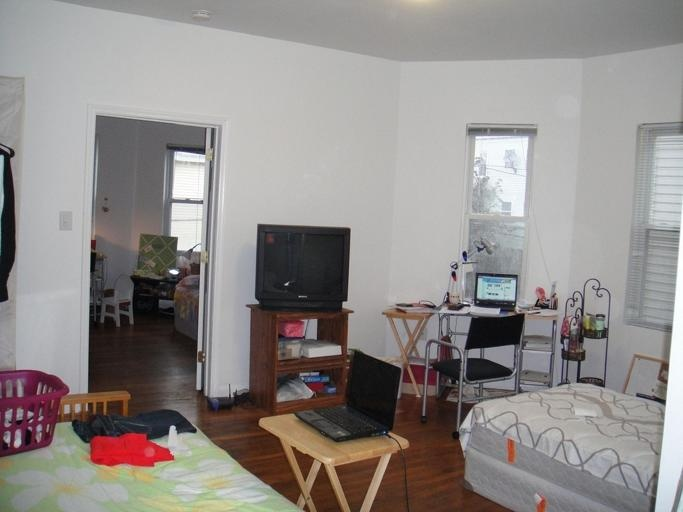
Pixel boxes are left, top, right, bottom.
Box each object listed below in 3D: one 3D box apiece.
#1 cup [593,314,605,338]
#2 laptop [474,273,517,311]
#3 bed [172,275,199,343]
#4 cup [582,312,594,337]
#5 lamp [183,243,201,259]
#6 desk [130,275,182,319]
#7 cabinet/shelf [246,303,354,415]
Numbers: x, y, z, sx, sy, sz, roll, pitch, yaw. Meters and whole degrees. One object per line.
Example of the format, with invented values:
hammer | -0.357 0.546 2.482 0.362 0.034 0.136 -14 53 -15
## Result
cup | 2.485 0.674 5.004 0.113 0.199 0.191 6 6 27
laptop | 1.584 0.344 5.382 0.469 0.433 0.336 3 2 17
bed | -2.179 0.736 7.293 0.523 0.725 0.857 3 7 -13
cup | 2.386 0.678 5.034 0.106 0.191 0.194 6 6 26
lamp | -2.662 -0.095 9.151 0.158 0.235 0.351 3 6 5
desk | -2.994 0.648 8.279 0.604 0.520 0.207 3 15 -3
cabinet/shelf | -0.407 0.788 5.157 1.142 1.328 0.858 -1 4 -31
